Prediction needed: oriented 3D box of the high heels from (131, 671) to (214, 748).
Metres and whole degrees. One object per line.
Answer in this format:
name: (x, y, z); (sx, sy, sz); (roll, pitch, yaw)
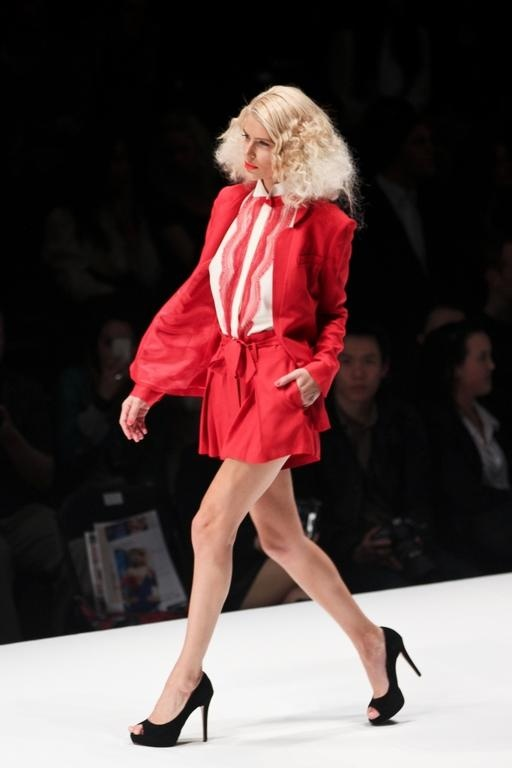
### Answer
high heels: (-0.181, 0.737, 1.696); (0.198, 0.179, 0.158); (0, -3, -22)

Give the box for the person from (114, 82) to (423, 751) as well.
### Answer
person: (-0.005, 0.074, 1.804); (0.652, 1.518, 0.358); (-2, -3, 8)
